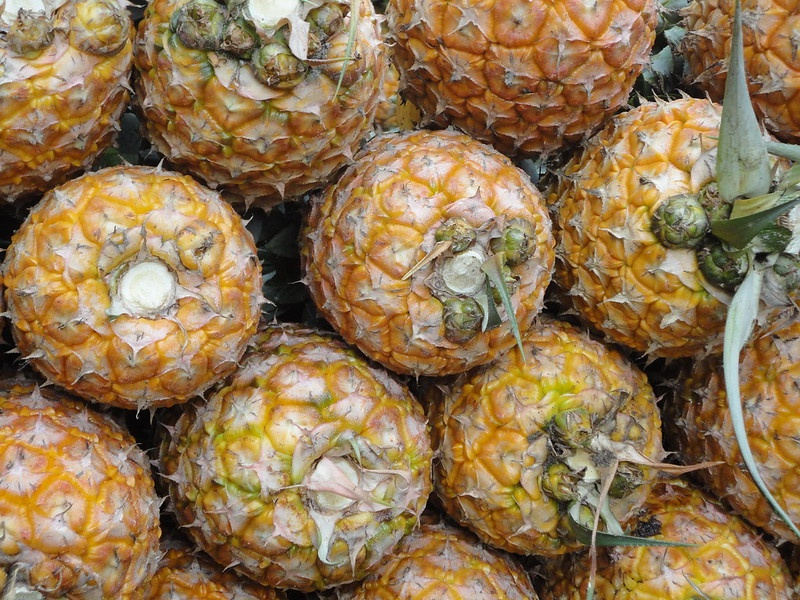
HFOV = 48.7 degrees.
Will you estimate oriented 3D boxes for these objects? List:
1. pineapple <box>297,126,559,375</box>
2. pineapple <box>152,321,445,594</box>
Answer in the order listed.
[{"bbox_3d":[0.113,-0.165,3.021,0.822,0.835,0.737,-4,97,-6],"label":"pineapple"},{"bbox_3d":[-0.340,0.491,2.938,0.824,0.847,0.786,12,91,-21],"label":"pineapple"}]
